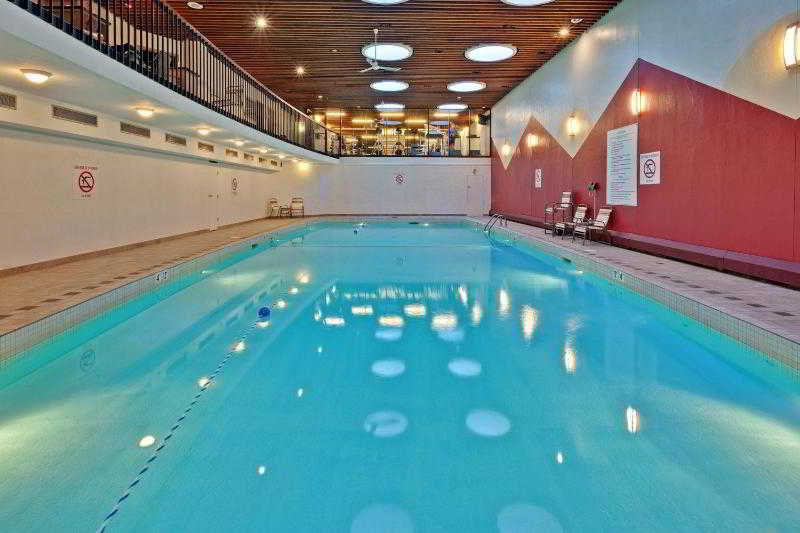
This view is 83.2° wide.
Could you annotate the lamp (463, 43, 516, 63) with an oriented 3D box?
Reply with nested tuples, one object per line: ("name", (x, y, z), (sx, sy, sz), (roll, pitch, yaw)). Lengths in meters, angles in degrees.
("lamp", (2.617, -6.134, 12.872), (1.443, 0.303, 1.131), (2, 14, 11))

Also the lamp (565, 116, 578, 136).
("lamp", (4.776, -3.894, 12.441), (0.192, 0.687, 0.644), (0, 4, -2))

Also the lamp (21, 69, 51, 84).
("lamp", (-5.400, -2.832, 6.658), (0.210, 0.082, 0.204), (-4, 4, -37))

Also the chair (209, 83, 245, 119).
("chair", (-5.024, -4.998, 13.287), (0.729, 1.073, 2.723), (-4, 14, -15))

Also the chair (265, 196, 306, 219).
("chair", (-5.429, -2.846, 21.322), (1.359, 0.992, 0.841), (2, 5, 38))
